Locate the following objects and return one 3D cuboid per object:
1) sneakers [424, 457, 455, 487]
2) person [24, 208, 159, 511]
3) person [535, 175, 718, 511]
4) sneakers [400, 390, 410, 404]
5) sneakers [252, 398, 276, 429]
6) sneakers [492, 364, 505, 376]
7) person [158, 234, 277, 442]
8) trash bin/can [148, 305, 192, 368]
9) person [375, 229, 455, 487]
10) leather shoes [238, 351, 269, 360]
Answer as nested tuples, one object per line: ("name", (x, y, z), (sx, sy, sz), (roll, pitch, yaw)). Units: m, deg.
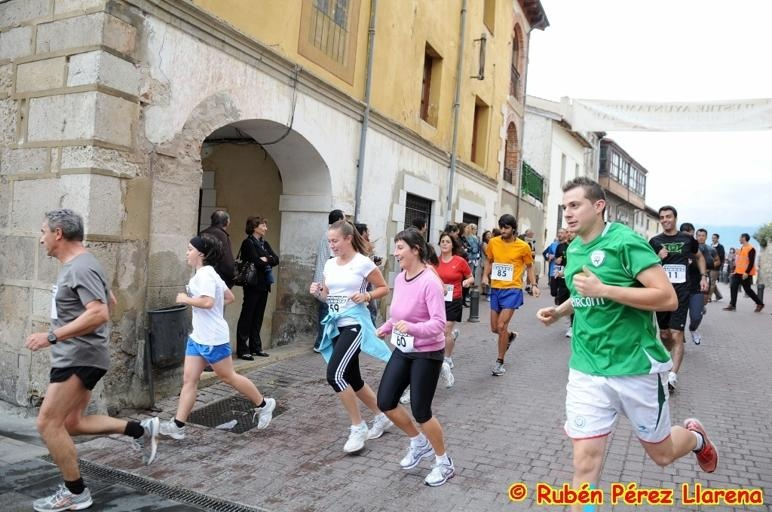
("sneakers", (0.540, 2.040, 4.783), (0.147, 0.165, 0.373), (-13, -7, 39))
("person", (-2.651, 0.855, 4.411), (0.545, 2.516, 0.839), (3, 3, 31))
("person", (1.964, 0.655, 4.016), (1.342, 2.557, 0.792), (-1, 3, -32))
("sneakers", (0.274, 1.902, 6.765), (0.146, 0.179, 0.428), (-4, -17, 17))
("sneakers", (-1.450, 1.846, 5.772), (0.178, 0.225, 0.487), (-3, 4, -11))
("sneakers", (1.791, 1.793, 7.949), (0.128, 0.110, 0.251), (-4, -10, 23))
("person", (-1.922, 0.876, 5.603), (1.103, 2.207, 0.545), (-1, 3, -25))
("trash bin/can", (-2.873, 1.033, 6.410), (0.495, 0.737, 0.612), (-5, 0, 30))
("person", (0.305, 0.930, 4.853), (0.754, 2.383, 0.563), (2, 3, 15))
("leather shoes", (-2.226, 1.652, 8.331), (0.523, 0.217, 0.162), (-5, -4, 20))
